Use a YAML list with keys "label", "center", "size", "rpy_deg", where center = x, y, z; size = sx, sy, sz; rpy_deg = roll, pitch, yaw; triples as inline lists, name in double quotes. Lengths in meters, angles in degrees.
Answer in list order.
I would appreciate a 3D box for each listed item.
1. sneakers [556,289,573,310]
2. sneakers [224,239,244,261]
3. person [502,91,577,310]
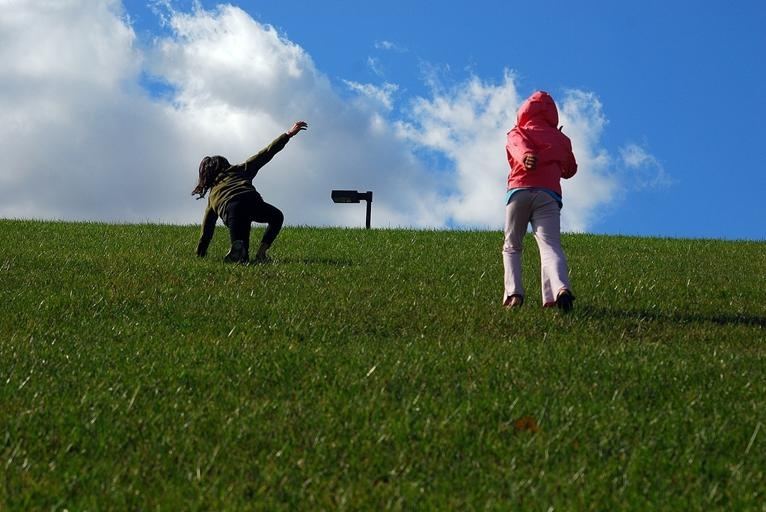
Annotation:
- label: "sneakers"
  center: [2.566, 0.562, 13.624]
  size: [0.262, 0.301, 0.202]
  rpy_deg: [1, 10, -2]
- label: "sneakers"
  center: [-2.591, -0.099, 17.092]
  size: [0.191, 0.487, 0.200]
  rpy_deg: [21, -1, -4]
- label: "person"
  center: [2.250, -0.794, 13.946]
  size: [0.972, 3.010, 1.148]
  rpy_deg: [2, 9, 7]
